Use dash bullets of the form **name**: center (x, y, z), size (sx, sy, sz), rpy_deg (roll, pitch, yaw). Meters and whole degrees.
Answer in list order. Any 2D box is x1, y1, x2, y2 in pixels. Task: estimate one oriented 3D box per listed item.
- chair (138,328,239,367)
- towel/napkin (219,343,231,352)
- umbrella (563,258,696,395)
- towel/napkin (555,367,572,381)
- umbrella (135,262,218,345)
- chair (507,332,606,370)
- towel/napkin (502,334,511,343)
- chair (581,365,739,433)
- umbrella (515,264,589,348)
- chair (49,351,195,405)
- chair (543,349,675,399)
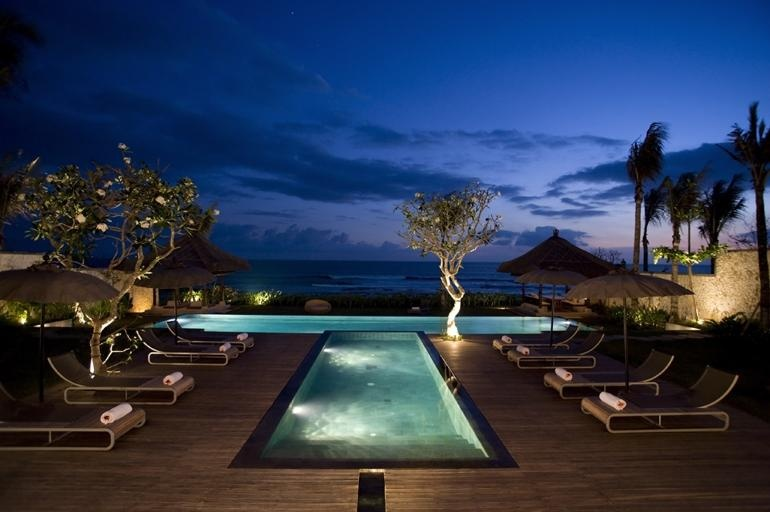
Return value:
- **chair**: center (-5.843, 2.703, 14.650), size (2.568, 0.728, 1.190), rpy_deg (1, -1, -4)
- **towel/napkin**: center (-4.786, 2.716, 14.782), size (0.217, 0.138, 0.403), rpy_deg (1, 1, -2)
- **umbrella**: center (5.989, 1.797, 13.640), size (3.905, 3.359, 3.494), rpy_deg (-2, -1, 1)
- **towel/napkin**: center (4.645, 3.057, 12.876), size (0.282, 0.184, 0.495), rpy_deg (0, -1, -4)
- **umbrella**: center (-6.236, 1.445, 15.157), size (1.825, 2.300, 1.982), rpy_deg (4, 0, 1)
- **chair**: center (5.136, 2.778, 14.894), size (2.595, 0.742, 1.204), rpy_deg (-3, 6, 4)
- **towel/napkin**: center (3.841, 2.622, 15.689), size (0.274, 0.187, 0.353), rpy_deg (3, -7, 1)
- **chair**: center (6.623, 3.421, 12.134), size (3.371, 1.108, 1.645), rpy_deg (-1, -3, 5)
- **umbrella**: center (5.427, 1.526, 16.148), size (2.751, 2.464, 2.468), rpy_deg (0, 0, -3)
- **chair**: center (-6.561, 2.992, 12.694), size (3.253, 0.916, 1.492), rpy_deg (1, -3, -8)
- **chair**: center (5.755, 3.074, 13.092), size (3.120, 0.888, 1.361), rpy_deg (0, -3, 5)
